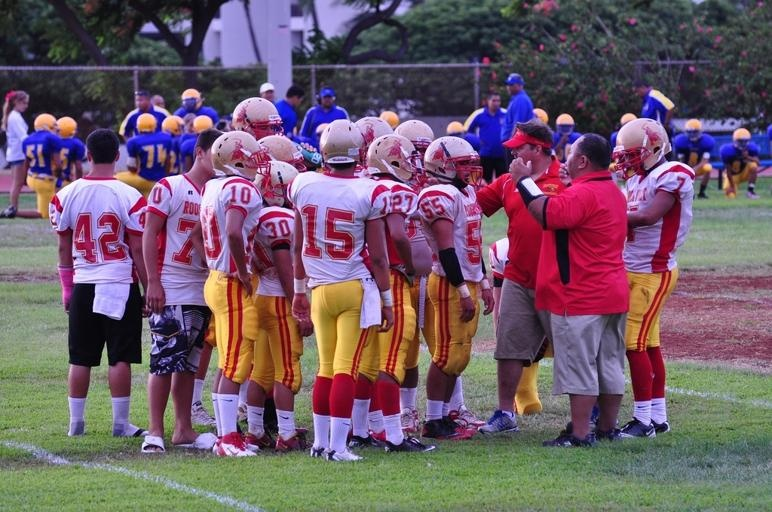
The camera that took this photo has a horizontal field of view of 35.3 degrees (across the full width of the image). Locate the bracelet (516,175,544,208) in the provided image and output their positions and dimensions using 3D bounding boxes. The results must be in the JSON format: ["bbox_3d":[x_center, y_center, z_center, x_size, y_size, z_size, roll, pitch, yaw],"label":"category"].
[{"bbox_3d":[1.485,-0.648,12.541,0.202,0.269,0.160,-42,-43,18],"label":"bracelet"}]

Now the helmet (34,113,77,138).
[{"bbox_3d":[-6.163,-2.415,22.565,0.692,0.348,0.453,5,7,-6],"label":"helmet"}]

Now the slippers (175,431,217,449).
[{"bbox_3d":[-1.970,1.902,12.609,0.353,0.112,0.186,-1,-1,9],"label":"slippers"}]

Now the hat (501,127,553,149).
[{"bbox_3d":[1.490,-1.205,12.858,0.355,0.155,0.229,12,-3,-3],"label":"hat"}]

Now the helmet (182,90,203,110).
[{"bbox_3d":[-3.620,-2.903,22.503,0.324,0.341,0.412,-4,-6,-1],"label":"helmet"}]

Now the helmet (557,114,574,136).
[{"bbox_3d":[3.621,-2.629,24.442,0.356,0.368,0.437,0,1,-1],"label":"helmet"}]

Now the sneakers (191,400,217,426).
[{"bbox_3d":[-2.067,1.717,13.251,0.378,0.174,0.134,15,12,25],"label":"sneakers"}]

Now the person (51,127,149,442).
[{"bbox_3d":[-3.020,0.539,12.734,0.944,2.711,0.341,1,1,-11],"label":"person"}]
